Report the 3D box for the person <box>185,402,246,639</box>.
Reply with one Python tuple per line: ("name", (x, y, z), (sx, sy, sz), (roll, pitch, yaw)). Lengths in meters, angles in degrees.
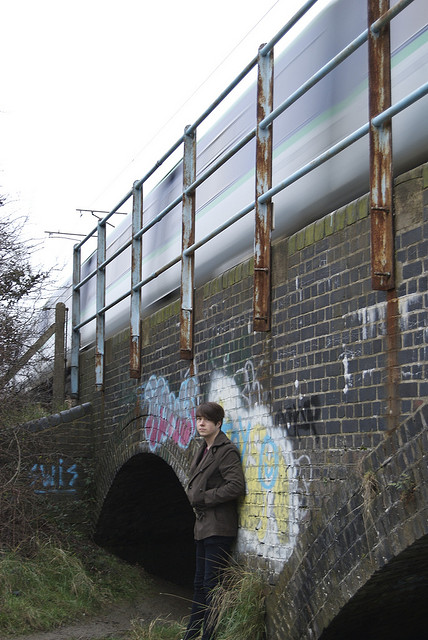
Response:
("person", (-0.020, 1.316, 5.050), (0.305, 1.537, 0.670), (7, -18, -26))
